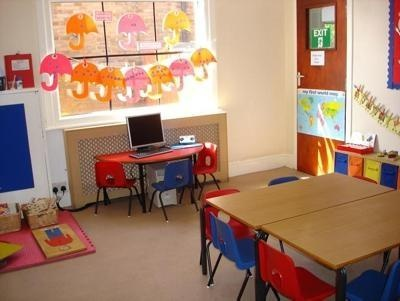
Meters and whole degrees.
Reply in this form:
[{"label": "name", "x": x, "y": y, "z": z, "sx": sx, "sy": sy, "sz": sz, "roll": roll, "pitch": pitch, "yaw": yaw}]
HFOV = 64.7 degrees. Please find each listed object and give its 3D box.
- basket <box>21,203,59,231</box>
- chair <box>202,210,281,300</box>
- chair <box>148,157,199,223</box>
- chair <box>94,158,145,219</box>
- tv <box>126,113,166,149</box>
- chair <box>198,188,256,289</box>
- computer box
[{"label": "basket", "x": -2.184, "y": 0.914, "z": 4.285, "sx": 0.471, "sy": 0.244, "sz": 0.236, "roll": -5, "pitch": 15, "yaw": 3}, {"label": "chair", "x": 0.351, "y": 0.917, "z": 2.744, "sx": 0.542, "sy": 0.889, "sz": 0.506, "roll": -12, "pitch": 20, "yaw": -28}, {"label": "chair", "x": -0.396, "y": 0.477, "z": 4.632, "sx": 0.716, "sy": 0.838, "sz": 0.674, "roll": -11, "pitch": 16, "yaw": -21}, {"label": "chair", "x": -1.234, "y": 0.501, "z": 4.700, "sx": 0.672, "sy": 0.830, "sz": 0.682, "roll": -10, "pitch": 14, "yaw": -38}, {"label": "tv", "x": -0.847, "y": -0.291, "z": 4.889, "sx": 0.472, "sy": 0.433, "sz": 0.052, "roll": -9, "pitch": 5, "yaw": -28}, {"label": "chair", "x": 0.245, "y": 0.870, "z": 3.153, "sx": 0.416, "sy": 0.686, "sz": 0.400, "roll": 4, "pitch": -24, "yaw": 11}, {"label": "computer box", "x": -0.567, "y": 0.497, "z": 4.885, "sx": 0.316, "sy": 0.624, "sz": 0.418, "roll": -10, "pitch": 24, "yaw": -21}]
